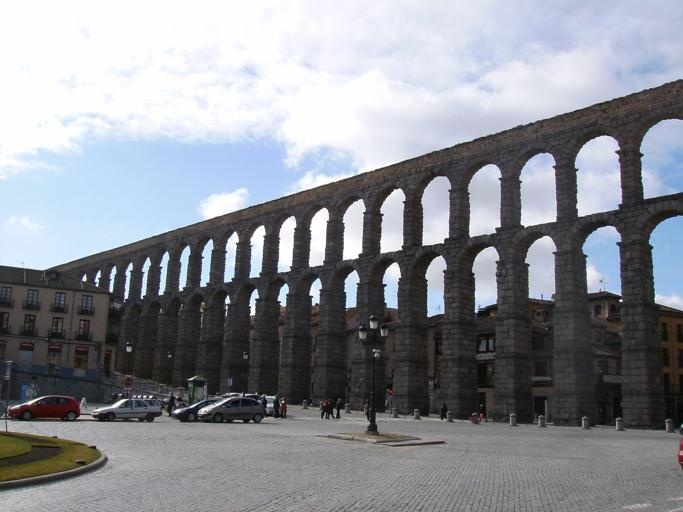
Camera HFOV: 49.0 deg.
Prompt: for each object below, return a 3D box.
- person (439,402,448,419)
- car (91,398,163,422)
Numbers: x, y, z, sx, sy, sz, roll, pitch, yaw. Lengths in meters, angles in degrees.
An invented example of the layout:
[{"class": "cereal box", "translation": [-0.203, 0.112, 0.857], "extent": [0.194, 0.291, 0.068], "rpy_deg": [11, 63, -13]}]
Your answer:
[{"class": "person", "translation": [7.541, 11.422, 55.284], "extent": [0.550, 1.281, 1.535], "rpy_deg": [-2, -18, 7]}, {"class": "car", "translation": [-12.743, 9.328, 45.231], "extent": [3.218, 1.005, 1.671], "rpy_deg": [11, -18, -25]}]
